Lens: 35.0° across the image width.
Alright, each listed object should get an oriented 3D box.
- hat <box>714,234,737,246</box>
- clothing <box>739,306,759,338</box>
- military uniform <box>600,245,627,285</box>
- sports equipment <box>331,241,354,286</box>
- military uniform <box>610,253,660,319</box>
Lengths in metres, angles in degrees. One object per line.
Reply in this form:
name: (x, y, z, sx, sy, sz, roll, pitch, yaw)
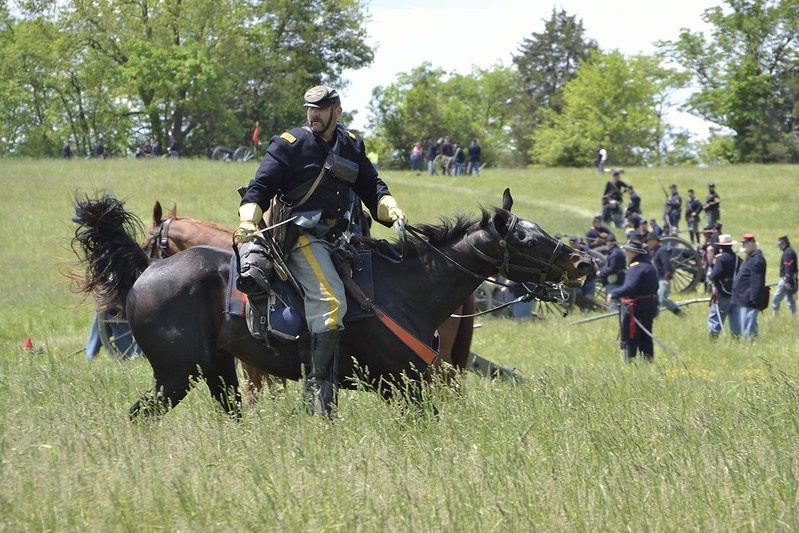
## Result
hat: (12.049, -0.973, 47.321, 0.703, 0.236, 0.721, -1, -1, 4)
clothing: (12.180, 1.958, 44.341, 0.645, 1.030, 0.913, 1, 13, -2)
military uniform: (8.051, 0.007, 47.979, 1.128, 1.398, 1.602, 1, 7, 10)
sports equipment: (-1.703, -0.110, 37.549, 0.465, 1.093, 0.751, -8, -3, 44)
military uniform: (8.077, 0.730, 43.219, 1.468, 2.134, 1.016, 3, 14, 3)
